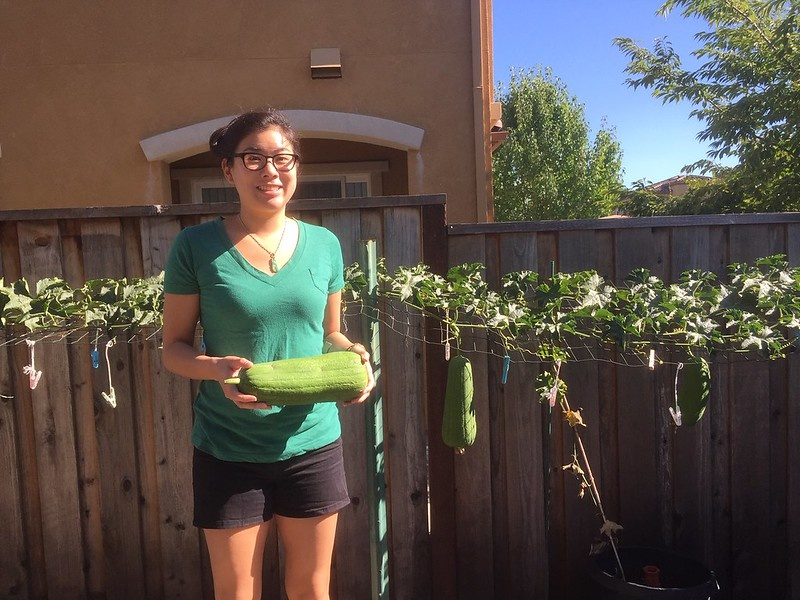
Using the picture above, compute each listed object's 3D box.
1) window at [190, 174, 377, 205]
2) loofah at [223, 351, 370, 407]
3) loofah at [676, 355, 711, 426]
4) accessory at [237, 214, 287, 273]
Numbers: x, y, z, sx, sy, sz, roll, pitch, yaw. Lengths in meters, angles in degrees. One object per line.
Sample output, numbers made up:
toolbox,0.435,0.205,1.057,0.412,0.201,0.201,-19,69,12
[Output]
window,-1.261,-1.135,8.487,1.015,0.271,0.046,0,-8,-11
loofah,-0.613,0.403,5.011,0.771,0.342,0.333,-4,2,-17
loofah,2.159,0.648,6.101,0.287,0.569,0.125,5,6,26
accessory,-0.816,-0.339,5.086,0.212,0.397,0.031,-12,-18,-23
